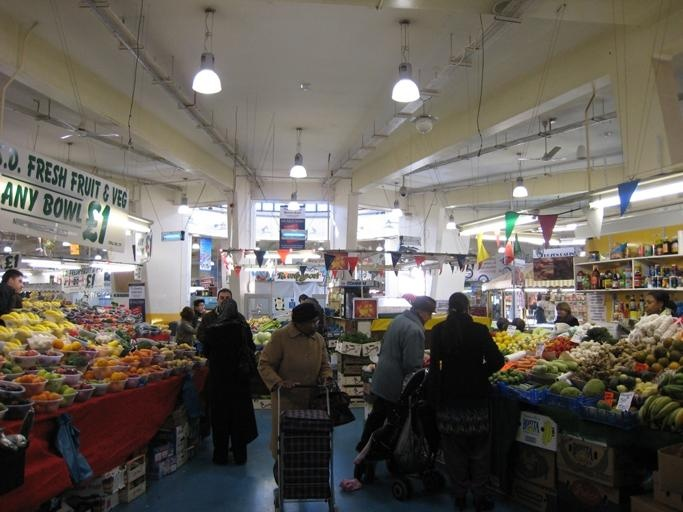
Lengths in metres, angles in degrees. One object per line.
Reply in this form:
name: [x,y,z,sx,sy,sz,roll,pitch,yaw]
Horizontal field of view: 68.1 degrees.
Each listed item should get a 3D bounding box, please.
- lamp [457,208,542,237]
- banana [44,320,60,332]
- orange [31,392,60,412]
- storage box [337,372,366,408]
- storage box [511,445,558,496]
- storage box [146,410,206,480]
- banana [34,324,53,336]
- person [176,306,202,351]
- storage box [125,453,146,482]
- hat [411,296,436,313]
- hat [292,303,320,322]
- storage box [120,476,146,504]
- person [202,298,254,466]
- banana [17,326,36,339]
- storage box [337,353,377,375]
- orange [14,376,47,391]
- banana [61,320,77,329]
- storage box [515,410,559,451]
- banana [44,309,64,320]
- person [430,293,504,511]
lamp: [3.387,-0.736,10.906,0.885,0.272,1.257,-9,7,-36]
banana: [-3.536,0.875,6.248,0.154,0.060,0.147,30,-13,30]
orange: [-2.775,1.376,4.779,0.179,0.127,0.179,2,-4,-22]
storage box: [0.191,2.357,8.906,0.622,0.306,0.875,0,-1,0]
storage box: [2.167,2.231,5.581,0.327,0.578,0.602,4,-5,-31]
storage box: [-2.147,2.469,6.577,0.554,0.539,1.065,-1,-3,-2]
banana: [-3.525,0.873,6.011,0.140,0.058,0.146,11,0,-15]
person: [-2.764,1.457,9.208,0.381,1.171,0.366,0,19,-19]
storage box: [-2.342,2.428,5.792,0.060,0.198,0.269,-3,-3,13]
hat: [1.023,0.582,6.271,0.242,0.241,0.187,-2,2,-26]
hat: [-0.387,0.612,5.451,0.227,0.149,0.207,-12,3,-15]
storage box: [-2.333,2.652,5.720,0.152,0.221,0.307,-3,-2,5]
person: [-1.502,1.671,6.905,0.683,2.182,0.434,0,-3,-10]
banana: [-3.563,0.862,5.705,0.125,0.127,0.030,-16,-15,-37]
storage box: [0.300,1.824,8.628,0.691,0.496,0.389,1,-4,-2]
orange: [-2.984,1.231,4.876,0.248,0.164,0.215,1,-4,-33]
banana: [-3.501,0.899,6.528,0.188,0.082,0.289,1,-4,-35]
storage box: [2.116,1.776,5.450,0.289,0.373,0.513,7,-7,-18]
banana: [-3.887,0.799,6.891,0.152,0.074,0.156,4,-10,-10]
person: [1.340,1.571,5.469,0.769,2.342,0.259,-1,-3,12]
